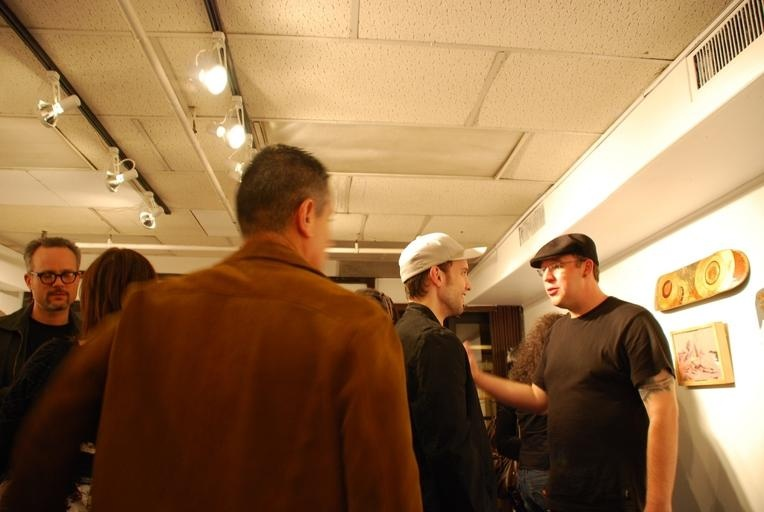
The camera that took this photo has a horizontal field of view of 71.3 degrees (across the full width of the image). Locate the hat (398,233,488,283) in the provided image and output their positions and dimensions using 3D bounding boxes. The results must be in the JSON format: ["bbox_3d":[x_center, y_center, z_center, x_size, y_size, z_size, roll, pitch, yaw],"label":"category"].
[{"bbox_3d":[0.323,-0.023,2.843,0.408,0.211,0.256,-14,-5,-4],"label":"hat"}]

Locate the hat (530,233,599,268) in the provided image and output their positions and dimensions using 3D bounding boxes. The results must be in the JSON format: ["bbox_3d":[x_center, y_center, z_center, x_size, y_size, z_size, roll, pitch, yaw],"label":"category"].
[{"bbox_3d":[1.187,-0.033,3.455,0.316,0.152,0.250,7,-18,0],"label":"hat"}]
